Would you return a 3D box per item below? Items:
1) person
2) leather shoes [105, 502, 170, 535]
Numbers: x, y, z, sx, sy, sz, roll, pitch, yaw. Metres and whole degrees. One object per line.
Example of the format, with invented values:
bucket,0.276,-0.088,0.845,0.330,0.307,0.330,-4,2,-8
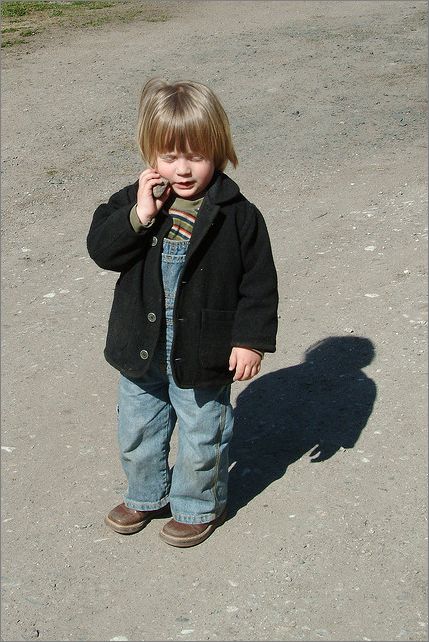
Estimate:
person,-0.109,0.029,1.842,0.576,1.346,0.293,-3,21,6
leather shoes,-0.247,0.627,2.098,0.178,0.070,0.076,0,28,-48
